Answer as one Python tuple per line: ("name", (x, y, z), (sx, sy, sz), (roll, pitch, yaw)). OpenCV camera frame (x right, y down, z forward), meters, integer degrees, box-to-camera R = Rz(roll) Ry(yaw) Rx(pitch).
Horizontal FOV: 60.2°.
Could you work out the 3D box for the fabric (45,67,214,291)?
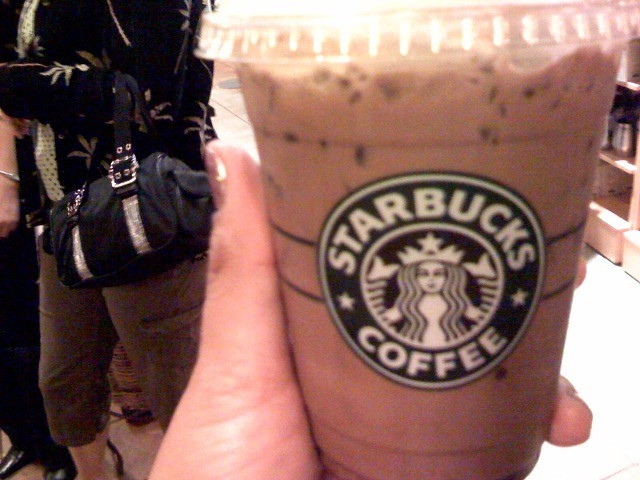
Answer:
("fabric", (-0.520, -0.135, 1.406), (0.478, 0.503, 0.192), (-22, -11, 13))
